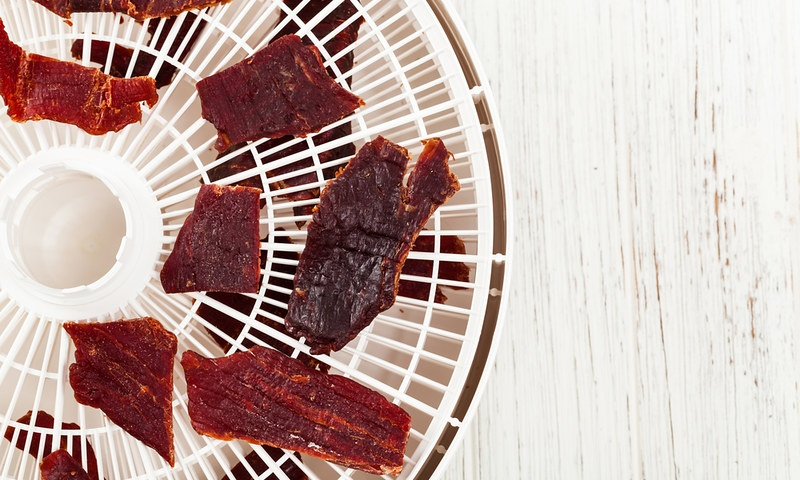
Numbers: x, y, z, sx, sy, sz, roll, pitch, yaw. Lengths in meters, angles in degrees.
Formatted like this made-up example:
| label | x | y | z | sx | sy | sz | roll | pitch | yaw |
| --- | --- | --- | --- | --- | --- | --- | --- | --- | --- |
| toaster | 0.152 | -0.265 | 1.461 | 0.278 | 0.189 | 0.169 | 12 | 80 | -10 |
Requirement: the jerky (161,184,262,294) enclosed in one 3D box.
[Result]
| label | x | y | z | sx | sy | sz | roll | pitch | yaw |
| --- | --- | --- | --- | --- | --- | --- | --- | --- | --- |
| jerky | -0.346 | 0.003 | 1.459 | 0.178 | 0.190 | 0.028 | 9 | -4 | 6 |

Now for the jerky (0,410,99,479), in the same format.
| label | x | y | z | sx | sy | sz | roll | pitch | yaw |
| --- | --- | --- | --- | --- | --- | --- | --- | --- | --- |
| jerky | -0.679 | 0.406 | 1.547 | 0.156 | 0.043 | 0.172 | 31 | -4 | -6 |
